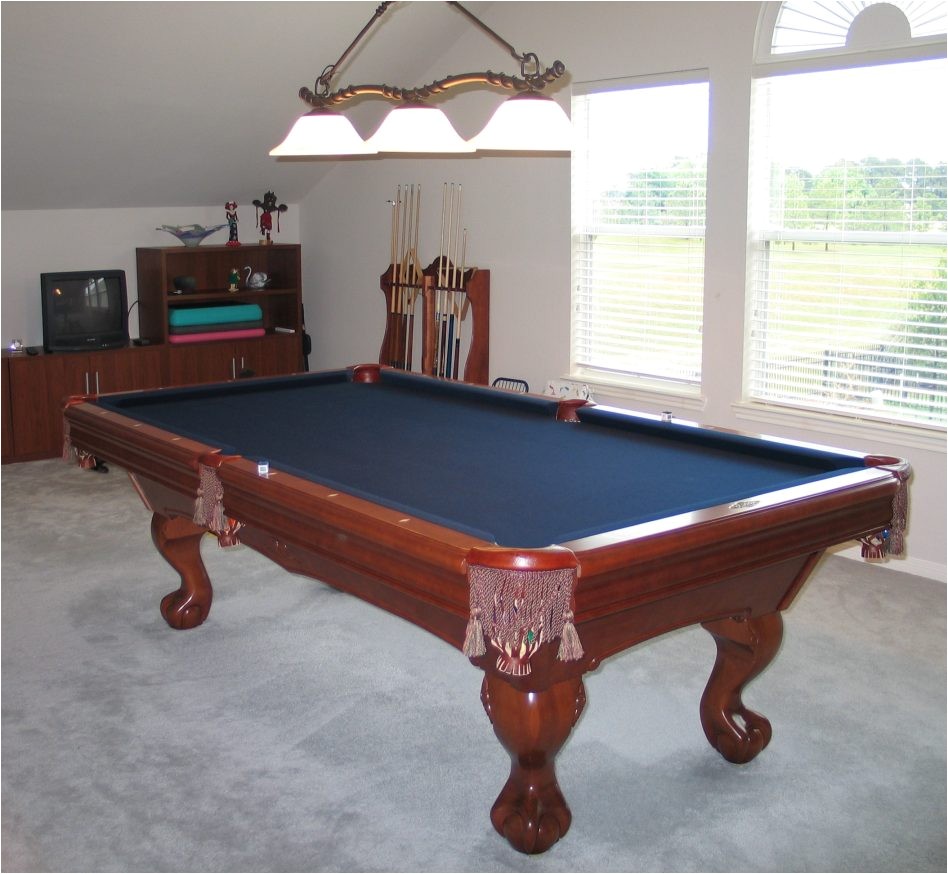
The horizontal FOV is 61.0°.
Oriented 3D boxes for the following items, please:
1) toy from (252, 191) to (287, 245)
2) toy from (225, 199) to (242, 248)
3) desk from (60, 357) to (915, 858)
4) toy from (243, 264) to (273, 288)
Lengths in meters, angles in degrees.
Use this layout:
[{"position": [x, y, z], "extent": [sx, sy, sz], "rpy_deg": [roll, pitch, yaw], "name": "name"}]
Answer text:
[{"position": [-1.536, -1.639, 6.005], "extent": [0.220, 0.386, 0.501], "rpy_deg": [-2, 10, -15], "name": "toy"}, {"position": [-1.775, -1.577, 5.899], "extent": [0.094, 0.332, 0.500], "rpy_deg": [-3, 10, -16], "name": "toy"}, {"position": [-0.206, 0.331, 2.447], "extent": [1.251, 0.923, 2.480], "rpy_deg": [-9, 14, -43], "name": "desk"}, {"position": [-1.630, -1.206, 6.002], "extent": [0.218, 0.164, 0.154], "rpy_deg": [2, 9, 1], "name": "toy"}]
